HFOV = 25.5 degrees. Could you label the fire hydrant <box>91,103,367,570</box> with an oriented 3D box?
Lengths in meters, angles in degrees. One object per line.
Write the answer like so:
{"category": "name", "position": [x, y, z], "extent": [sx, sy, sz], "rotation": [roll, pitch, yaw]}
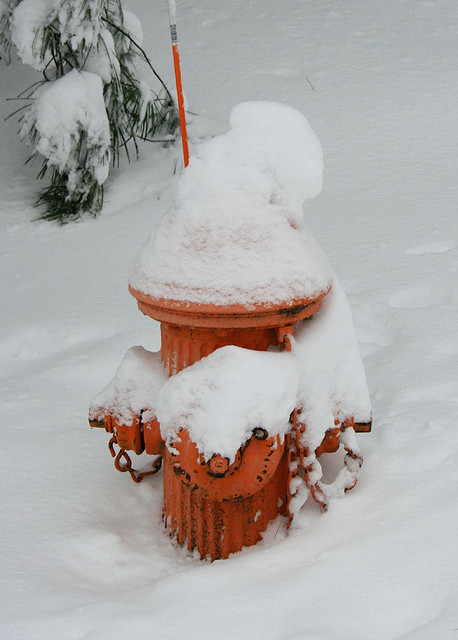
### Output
{"category": "fire hydrant", "position": [0.016, 0.060, 3.537], "extent": [0.944, 1.655, 0.920], "rotation": [-8, 19, -17]}

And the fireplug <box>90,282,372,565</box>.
{"category": "fireplug", "position": [-0.025, 0.317, 3.530], "extent": [0.788, 1.048, 1.040], "rotation": [-8, 11, -5]}
